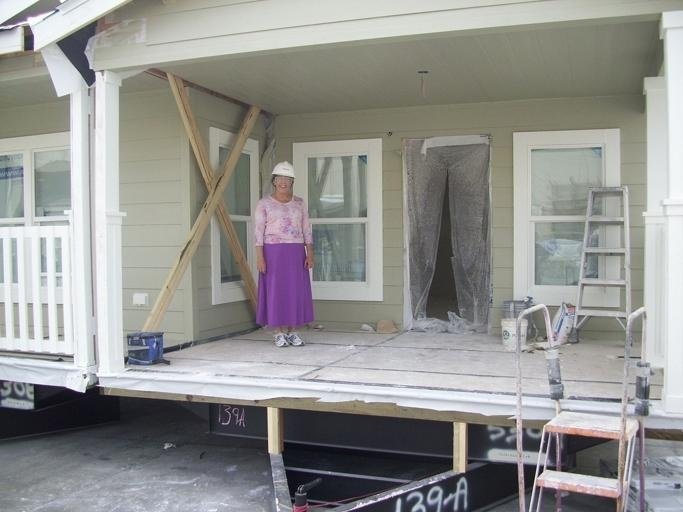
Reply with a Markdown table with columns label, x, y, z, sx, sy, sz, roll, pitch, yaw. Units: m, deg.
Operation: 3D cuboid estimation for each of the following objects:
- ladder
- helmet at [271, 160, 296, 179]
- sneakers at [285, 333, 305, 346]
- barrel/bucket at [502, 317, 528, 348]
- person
| label | x | y | z | sx | sy | sz | roll | pitch | yaw |
| --- | --- | --- | --- | --- | --- | --- | --- | --- | --- |
| ladder | 2.843 | 0.051 | 6.626 | 0.557 | 1.640 | 0.726 | 0 | 3 | 25 |
| helmet | -0.582 | -0.926 | 6.463 | 0.202 | 0.137 | 0.266 | 3 | 0 | -6 |
| sneakers | -0.483 | 0.894 | 6.544 | 0.213 | 0.094 | 0.097 | 0 | -3 | 36 |
| barrel/bucket | 1.787 | 0.781 | 6.308 | 0.275 | 0.279 | 0.281 | -1 | -3 | 0 |
| person | -0.571 | -0.126 | 6.391 | 0.622 | 1.694 | 0.350 | -2 | 3 | -17 |
